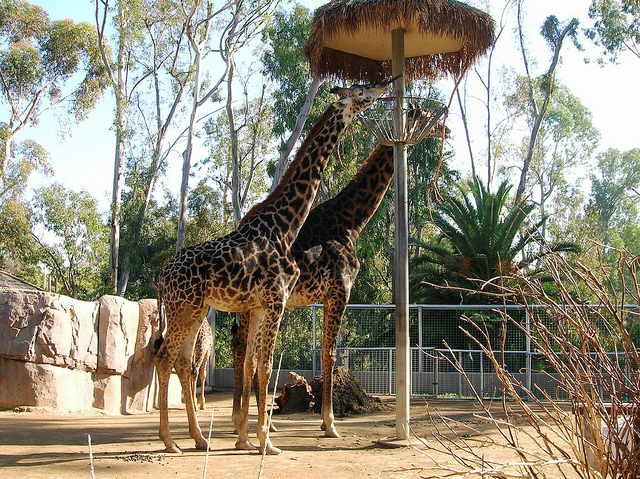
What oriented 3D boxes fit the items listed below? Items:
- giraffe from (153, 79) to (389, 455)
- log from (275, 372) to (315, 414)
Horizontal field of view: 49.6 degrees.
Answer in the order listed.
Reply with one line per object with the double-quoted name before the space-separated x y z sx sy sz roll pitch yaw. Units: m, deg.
"giraffe" -0.972 0.315 10.599 2.977 5.679 1.208 3 -8 -18
"log" -0.470 3.038 13.907 0.556 0.823 0.318 -19 -31 22
